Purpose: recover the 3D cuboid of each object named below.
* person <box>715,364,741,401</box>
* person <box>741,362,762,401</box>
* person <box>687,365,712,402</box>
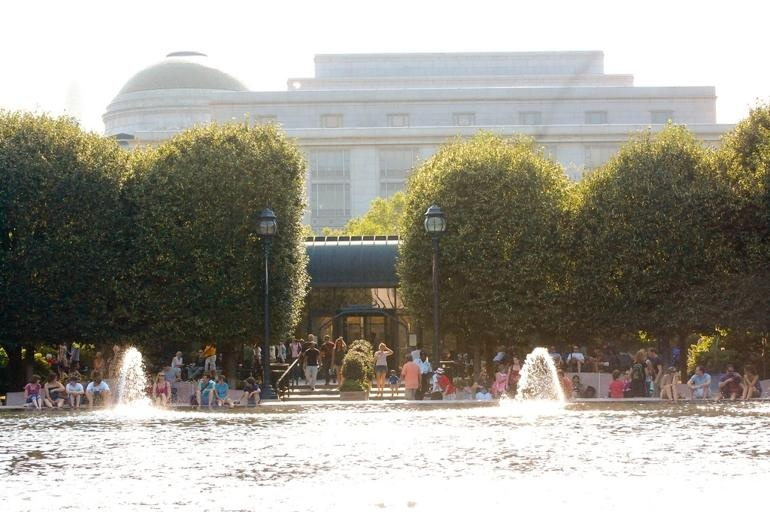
[{"bbox_3d":[17.323,6.385,93.736,1.221,1.703,0.996,-3,-9,10],"label":"person"},{"bbox_3d":[18.231,6.362,93.429,0.778,1.633,1.206,-6,-10,26],"label":"person"},{"bbox_3d":[15.773,6.381,93.922,1.094,1.685,0.865,-3,-9,5],"label":"person"}]
